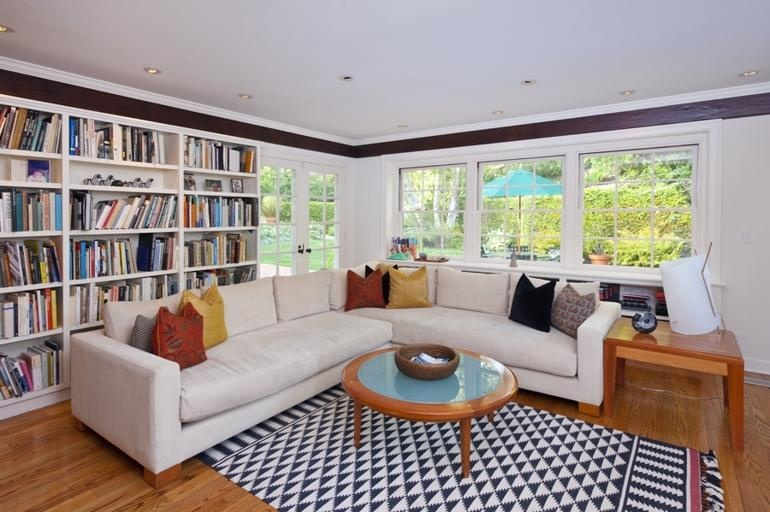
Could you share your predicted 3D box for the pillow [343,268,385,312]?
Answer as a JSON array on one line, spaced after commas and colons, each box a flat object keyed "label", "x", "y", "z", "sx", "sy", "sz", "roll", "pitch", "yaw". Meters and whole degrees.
[{"label": "pillow", "x": -0.249, "y": 0.427, "z": 5.792, "sx": 0.562, "sy": 0.493, "sz": 0.202, "roll": 0, "pitch": -6, "yaw": 1}]

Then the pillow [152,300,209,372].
[{"label": "pillow", "x": -1.738, "y": 0.692, "z": 4.115, "sx": 0.358, "sy": 0.637, "sz": 0.563, "roll": -11, "pitch": -7, "yaw": 35}]

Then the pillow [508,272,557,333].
[{"label": "pillow", "x": 1.525, "y": 0.512, "z": 5.084, "sx": 0.241, "sy": 0.514, "sz": 0.567, "roll": 10, "pitch": -2, "yaw": -27}]

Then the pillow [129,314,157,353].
[{"label": "pillow", "x": -2.047, "y": 0.649, "z": 4.143, "sx": 0.182, "sy": 0.295, "sz": 0.268, "roll": -3, "pitch": 7, "yaw": -26}]

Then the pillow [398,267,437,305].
[{"label": "pillow", "x": 0.274, "y": 0.385, "z": 5.891, "sx": 0.570, "sy": 0.475, "sz": 0.315, "roll": 2, "pitch": 11, "yaw": -19}]

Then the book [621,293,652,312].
[{"label": "book", "x": 2.939, "y": 0.546, "z": 5.703, "sx": 0.349, "sy": 0.180, "sz": 0.121, "roll": 2, "pitch": 7, "yaw": 19}]
